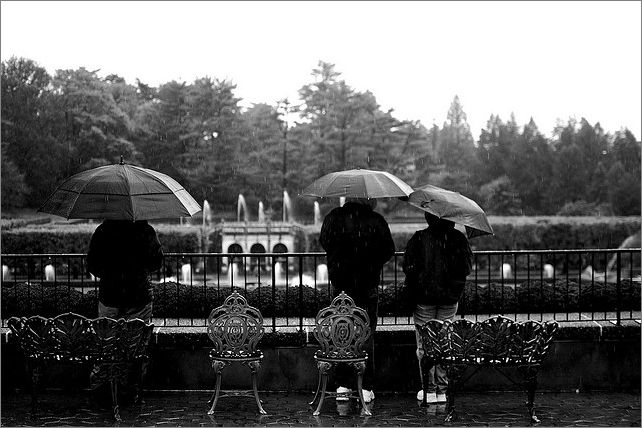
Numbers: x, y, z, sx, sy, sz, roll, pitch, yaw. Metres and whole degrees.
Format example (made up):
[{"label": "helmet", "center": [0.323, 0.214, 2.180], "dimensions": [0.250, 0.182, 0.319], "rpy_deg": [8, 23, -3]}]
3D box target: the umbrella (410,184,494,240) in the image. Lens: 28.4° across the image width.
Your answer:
[{"label": "umbrella", "center": [5.481, -0.115, 53.221], "dimensions": [3.193, 2.071, 0.791], "rpy_deg": [0, -1, 5]}]
